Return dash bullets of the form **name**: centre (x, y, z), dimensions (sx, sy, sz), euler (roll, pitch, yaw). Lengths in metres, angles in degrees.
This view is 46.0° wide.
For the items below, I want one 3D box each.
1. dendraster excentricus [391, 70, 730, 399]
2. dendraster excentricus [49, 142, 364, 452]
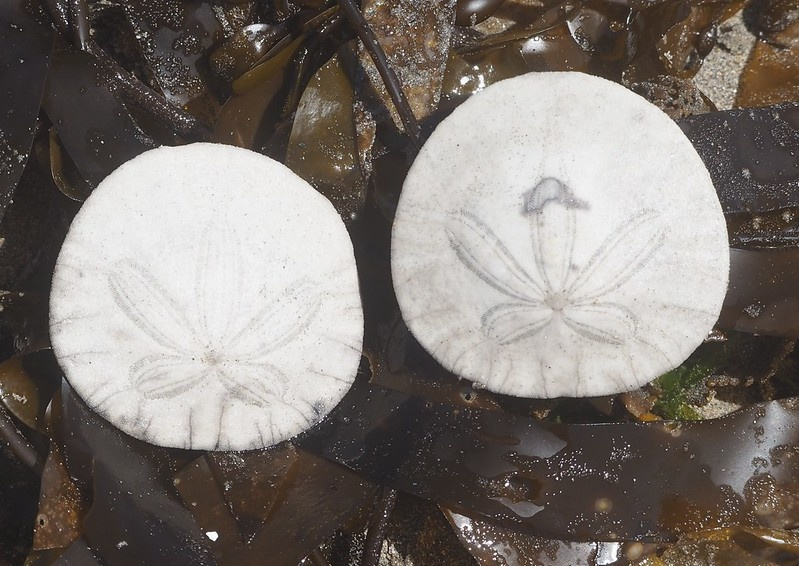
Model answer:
- **dendraster excentricus**: centre (0.734, -0.195, 4.387), dimensions (1.522, 0.316, 1.406), euler (1, 81, 0)
- **dendraster excentricus**: centre (-0.929, 0.069, 4.361), dimensions (1.346, 0.159, 1.478), euler (3, 90, -10)
